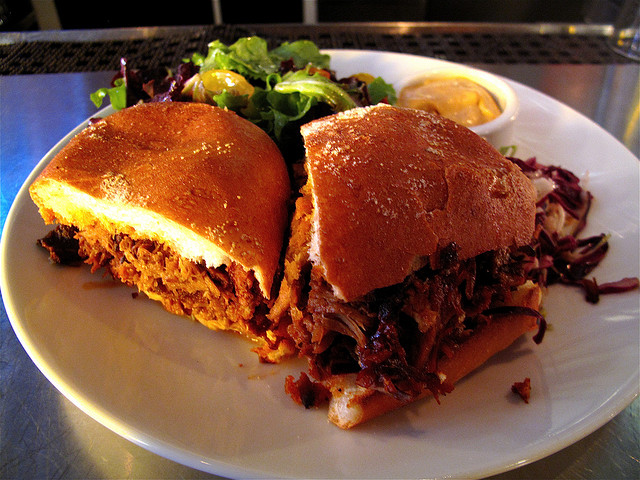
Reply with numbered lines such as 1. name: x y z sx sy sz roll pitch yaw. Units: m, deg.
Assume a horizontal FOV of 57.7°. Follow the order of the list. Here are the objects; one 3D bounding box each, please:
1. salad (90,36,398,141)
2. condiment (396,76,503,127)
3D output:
1. salad: -0.304 -1.056 3.342 1.548 0.637 1.152 -3 21 12
2. condiment: 0.660 -0.709 2.936 0.375 0.140 0.415 4 37 2
